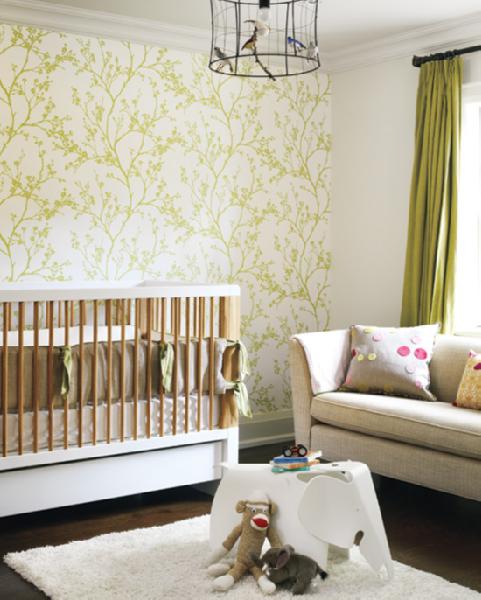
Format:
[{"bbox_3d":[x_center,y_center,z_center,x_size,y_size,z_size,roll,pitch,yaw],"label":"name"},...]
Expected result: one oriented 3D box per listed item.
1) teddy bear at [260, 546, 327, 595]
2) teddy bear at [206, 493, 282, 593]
[{"bbox_3d":[0.136,0.744,1.546,0.109,0.105,0.144,3,-5,-44],"label":"teddy bear"},{"bbox_3d":[0.021,0.694,1.631,0.286,0.310,0.194,2,-11,4],"label":"teddy bear"}]
